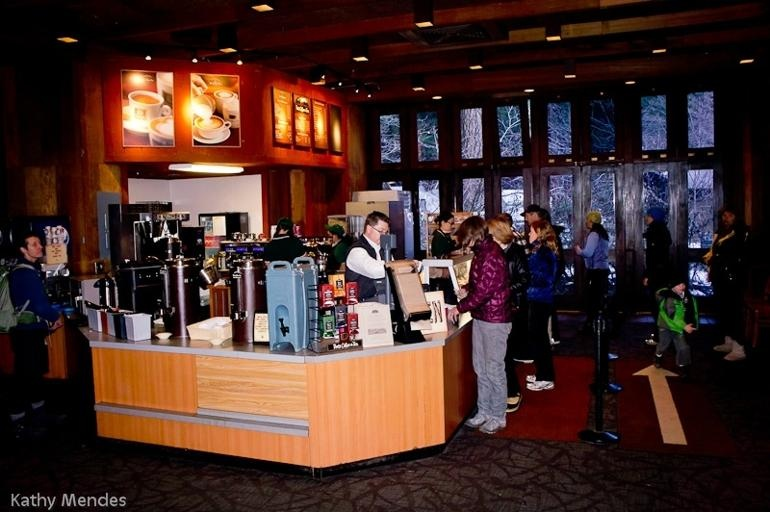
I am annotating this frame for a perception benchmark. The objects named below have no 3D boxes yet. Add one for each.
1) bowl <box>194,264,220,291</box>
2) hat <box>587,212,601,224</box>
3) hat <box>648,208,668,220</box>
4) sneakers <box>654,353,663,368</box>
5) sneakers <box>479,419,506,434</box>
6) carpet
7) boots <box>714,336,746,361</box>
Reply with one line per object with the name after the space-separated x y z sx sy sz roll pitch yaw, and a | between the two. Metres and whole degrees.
-1.932 0.213 6.187 0.213 0.226 0.297 -4 11 -12 | bowl
3.420 -0.640 9.465 0.242 0.202 0.205 11 9 31 | hat
4.335 -0.689 9.129 0.229 0.118 0.203 2 2 37 | hat
3.698 1.422 7.745 0.092 0.226 0.101 4 8 7 | sneakers
1.139 1.821 6.122 0.267 0.119 0.130 1 1 -9 | sneakers
2.707 1.708 6.885 2.255 0.093 2.544 2 11 18 | carpet
4.942 1.320 8.279 0.196 0.222 0.591 -21 4 5 | boots
